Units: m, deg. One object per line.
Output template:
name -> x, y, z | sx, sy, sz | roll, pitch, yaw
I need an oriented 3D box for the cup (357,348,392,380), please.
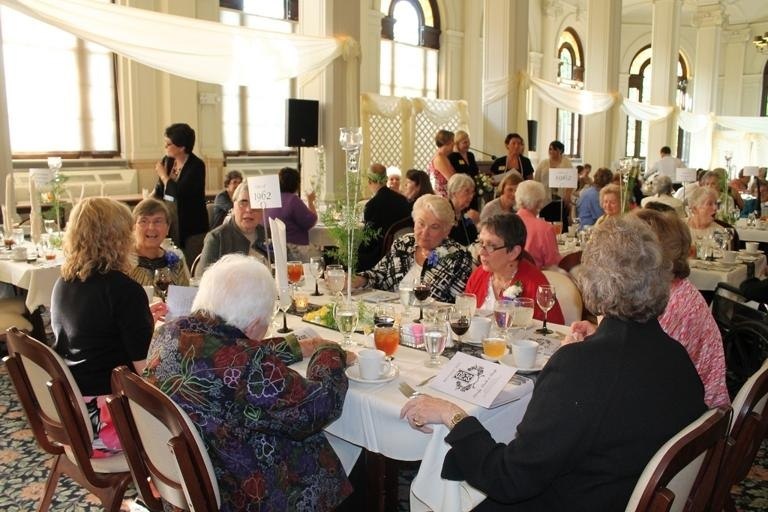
cup -> -0.047, 0.482, 2.479 | 0.142, 0.102, 0.109 | 4, 4, 45

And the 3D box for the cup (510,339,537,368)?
cup -> 0.629, 0.432, 2.567 | 0.118, 0.100, 0.099 | 5, 8, 13

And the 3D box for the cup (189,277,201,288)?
cup -> -1.071, 0.145, 3.220 | 0.050, 0.032, 0.051 | 3, 3, 0

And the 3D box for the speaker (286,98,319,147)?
speaker -> -0.982, -1.627, 7.028 | 0.393, 0.563, 0.282 | 1, -5, -6
